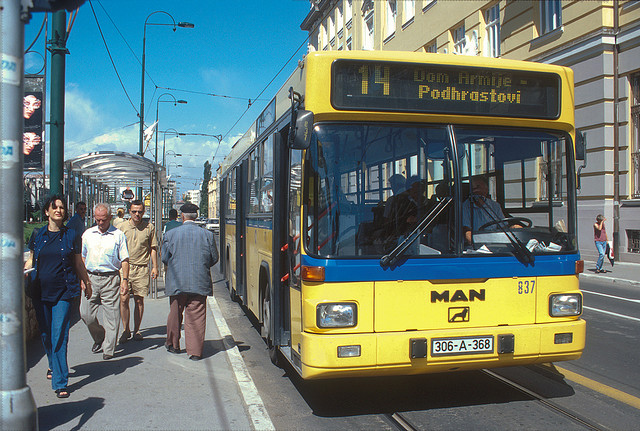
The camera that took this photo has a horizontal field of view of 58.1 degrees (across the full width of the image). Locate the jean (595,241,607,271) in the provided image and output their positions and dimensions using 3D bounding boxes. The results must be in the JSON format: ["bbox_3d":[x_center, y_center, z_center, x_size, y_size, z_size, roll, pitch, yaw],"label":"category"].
[{"bbox_3d":[8.536,1.237,17.542,0.309,0.868,0.699,2,4,26],"label":"jean"}]

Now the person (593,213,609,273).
[{"bbox_3d":[8.695,0.832,17.899,0.370,1.685,1.736,2,4,25],"label":"person"}]

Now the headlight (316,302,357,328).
[{"bbox_3d":[0.218,1.110,6.765,0.515,0.372,0.326,-4,23,3],"label":"headlight"}]

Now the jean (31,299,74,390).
[{"bbox_3d":[-3.443,1.680,7.517,0.485,1.194,0.341,3,5,33],"label":"jean"}]

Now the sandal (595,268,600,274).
[{"bbox_3d":[8.324,1.705,17.366,0.087,0.150,0.279,2,-6,-6],"label":"sandal"}]

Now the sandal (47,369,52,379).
[{"bbox_3d":[-3.709,2.180,7.863,0.081,0.100,0.234,3,-10,-21],"label":"sandal"}]

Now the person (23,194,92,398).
[{"bbox_3d":[-3.498,1.029,7.534,0.667,2.578,0.645,-1,4,-6],"label":"person"}]

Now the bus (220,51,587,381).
[{"bbox_3d":[0.080,0.016,12.506,3.959,4.693,11.972,1,0,-15],"label":"bus"}]

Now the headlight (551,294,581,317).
[{"bbox_3d":[3.014,1.075,7.076,0.280,0.221,0.291,1,-2,-26],"label":"headlight"}]

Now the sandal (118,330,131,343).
[{"bbox_3d":[-3.346,2.048,9.793,0.146,0.176,0.304,0,4,4],"label":"sandal"}]

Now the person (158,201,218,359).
[{"bbox_3d":[-2.138,1.010,9.194,0.795,2.352,0.711,1,4,21],"label":"person"}]
